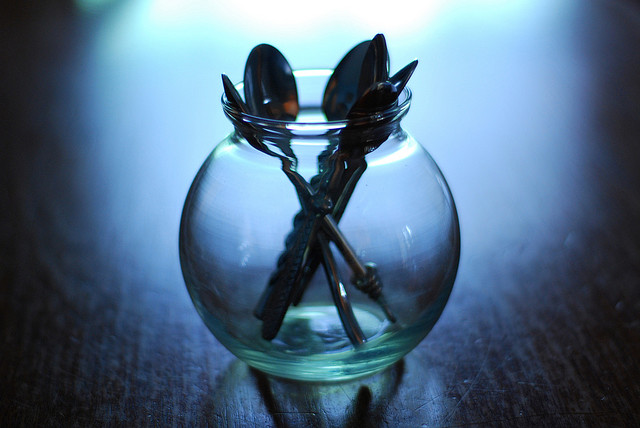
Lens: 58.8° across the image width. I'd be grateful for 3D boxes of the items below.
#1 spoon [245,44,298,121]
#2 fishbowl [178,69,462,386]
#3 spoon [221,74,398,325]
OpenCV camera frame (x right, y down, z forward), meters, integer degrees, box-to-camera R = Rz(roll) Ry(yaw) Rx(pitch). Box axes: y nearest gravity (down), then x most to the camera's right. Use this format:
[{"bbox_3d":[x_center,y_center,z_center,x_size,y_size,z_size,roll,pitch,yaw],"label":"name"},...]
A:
[{"bbox_3d":[-0.048,-0.125,0.586,0.045,0.086,0.016,-21,15,-31],"label":"spoon"},{"bbox_3d":[0.002,0.029,0.651,0.294,0.337,0.318,-1,10,3],"label":"fishbowl"},{"bbox_3d":[-0.009,-0.002,0.520,0.033,0.263,0.019,-24,11,29],"label":"spoon"}]
